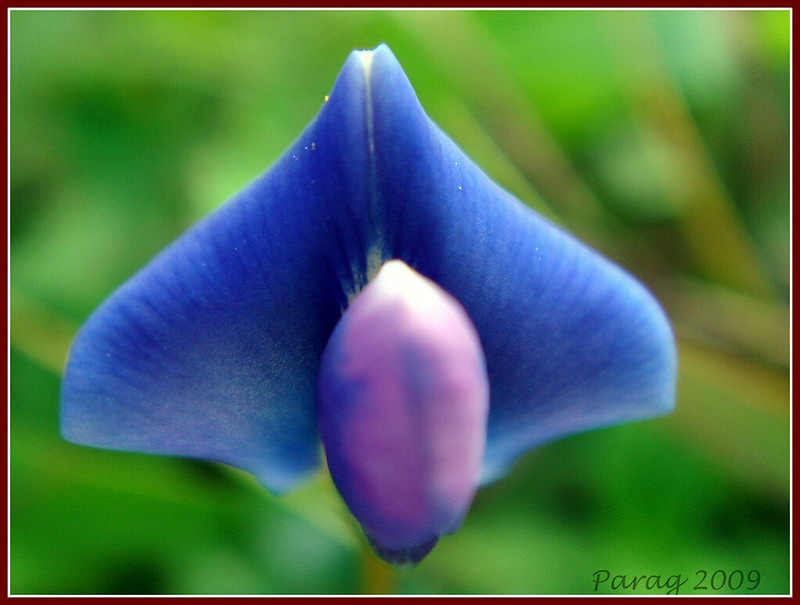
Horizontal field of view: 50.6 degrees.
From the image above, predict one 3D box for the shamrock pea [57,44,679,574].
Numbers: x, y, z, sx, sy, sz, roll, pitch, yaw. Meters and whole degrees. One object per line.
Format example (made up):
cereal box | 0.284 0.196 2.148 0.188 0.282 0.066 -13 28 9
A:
shamrock pea | -0.013 0.033 0.523 0.391 0.396 0.148 -3 33 -2
